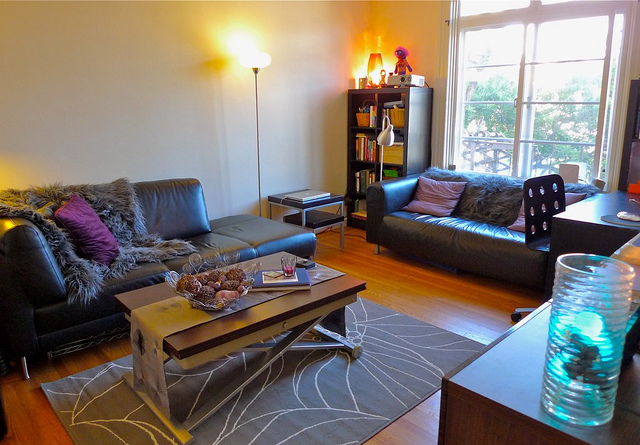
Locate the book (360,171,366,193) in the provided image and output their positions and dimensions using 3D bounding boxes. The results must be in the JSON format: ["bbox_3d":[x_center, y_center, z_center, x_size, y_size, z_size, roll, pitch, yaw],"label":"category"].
[{"bbox_3d":[0.535,-0.509,5.562,0.081,0.257,0.027,8,20,33],"label":"book"}]

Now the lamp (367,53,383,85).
[{"bbox_3d":[0.676,-1.873,5.465,0.186,0.377,0.265,-2,16,6],"label":"lamp"}]

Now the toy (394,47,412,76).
[{"bbox_3d":[0.940,-1.823,5.087,0.177,0.295,0.210,0,16,11],"label":"toy"}]

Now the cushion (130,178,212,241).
[{"bbox_3d":[-1.455,-0.072,4.072,0.450,0.549,0.806,-13,1,27],"label":"cushion"}]

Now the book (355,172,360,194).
[{"bbox_3d":[0.469,-0.501,5.617,0.036,0.251,0.088,-16,20,-36],"label":"book"}]

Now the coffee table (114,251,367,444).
[{"bbox_3d":[-0.457,0.692,2.834,1.320,0.700,0.771,-14,19,-36],"label":"coffee table"}]

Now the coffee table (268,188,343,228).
[{"bbox_3d":[-0.143,-0.251,4.871,0.541,0.325,0.512,-11,17,-35],"label":"coffee table"}]

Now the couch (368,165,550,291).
[{"bbox_3d":[1.402,-0.024,4.325,0.898,0.808,1.703,-17,20,-40],"label":"couch"}]

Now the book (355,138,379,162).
[{"bbox_3d":[0.569,-0.891,5.487,0.108,0.279,0.366,-15,19,-34],"label":"book"}]

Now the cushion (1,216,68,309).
[{"bbox_3d":[-1.817,0.269,2.839,0.271,0.415,0.467,-15,28,-39],"label":"cushion"}]

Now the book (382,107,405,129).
[{"bbox_3d":[0.857,-1.207,5.178,0.276,0.169,0.186,-1,11,-2],"label":"book"}]

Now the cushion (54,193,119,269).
[{"bbox_3d":[-1.657,0.076,3.234,0.144,0.474,0.455,-30,32,10],"label":"cushion"}]

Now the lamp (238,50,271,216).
[{"bbox_3d":[-0.596,-0.920,4.513,0.282,1.393,0.280,-8,10,-22],"label":"lamp"}]

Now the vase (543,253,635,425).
[{"bbox_3d":[0.815,0.349,1.372,0.199,0.480,0.313,8,19,35],"label":"vase"}]

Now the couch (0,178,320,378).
[{"bbox_3d":[-1.375,0.227,3.593,1.955,1.085,0.947,-13,18,-34],"label":"couch"}]
